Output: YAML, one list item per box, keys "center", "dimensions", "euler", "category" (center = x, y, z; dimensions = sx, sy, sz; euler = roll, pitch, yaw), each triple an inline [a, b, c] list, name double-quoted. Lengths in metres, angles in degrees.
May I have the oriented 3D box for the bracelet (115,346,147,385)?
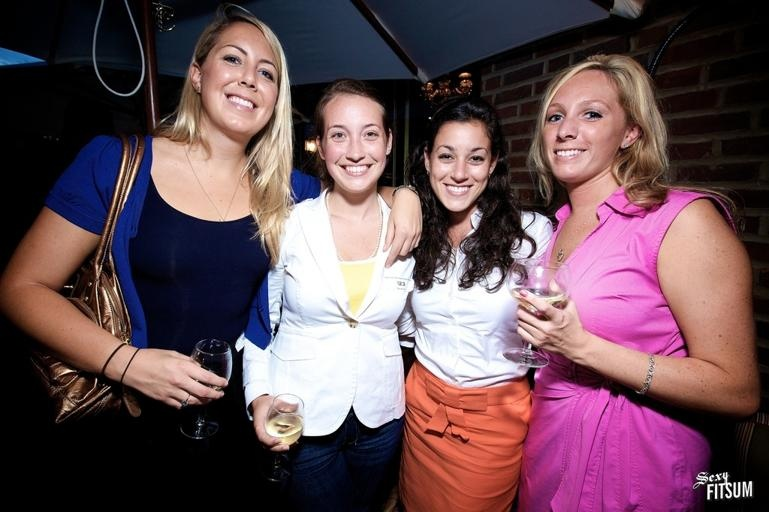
- center: [-1.241, 0.546, 2.447]
  dimensions: [0.110, 0.182, 0.069]
  euler: [-1, 6, -21]
  category: "bracelet"

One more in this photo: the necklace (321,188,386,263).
- center: [-0.162, -0.160, 2.928]
  dimensions: [0.296, 0.450, 0.141]
  euler: [-4, -9, -8]
  category: "necklace"

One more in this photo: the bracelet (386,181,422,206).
- center: [0.102, -0.392, 3.120]
  dimensions: [0.182, 0.149, 0.083]
  euler: [7, 44, 29]
  category: "bracelet"

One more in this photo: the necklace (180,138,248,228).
- center: [-0.934, -0.385, 2.723]
  dimensions: [0.391, 0.379, 0.097]
  euler: [5, -18, -34]
  category: "necklace"

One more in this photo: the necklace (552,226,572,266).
- center: [0.970, -0.067, 2.783]
  dimensions: [0.051, 0.228, 0.149]
  euler: [-4, 11, -36]
  category: "necklace"

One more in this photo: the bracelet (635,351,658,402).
- center: [1.280, 0.576, 2.427]
  dimensions: [0.082, 0.185, 0.034]
  euler: [0, 6, -12]
  category: "bracelet"

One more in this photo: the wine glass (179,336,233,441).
- center: [-0.932, 0.677, 2.585]
  dimensions: [0.249, 0.575, 0.268]
  euler: [4, 37, -28]
  category: "wine glass"

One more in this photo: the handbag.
- center: [-1.463, 0.093, 2.490]
  dimensions: [0.532, 1.422, 0.324]
  euler: [-2, 7, -30]
  category: "handbag"

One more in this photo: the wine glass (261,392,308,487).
- center: [-0.512, 0.932, 2.583]
  dimensions: [0.214, 0.515, 0.231]
  euler: [-11, 45, -28]
  category: "wine glass"
